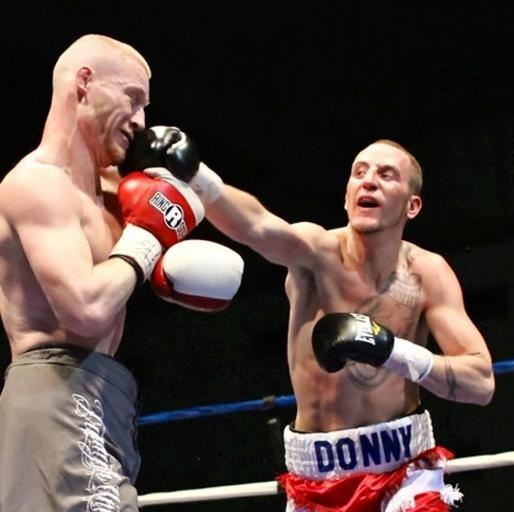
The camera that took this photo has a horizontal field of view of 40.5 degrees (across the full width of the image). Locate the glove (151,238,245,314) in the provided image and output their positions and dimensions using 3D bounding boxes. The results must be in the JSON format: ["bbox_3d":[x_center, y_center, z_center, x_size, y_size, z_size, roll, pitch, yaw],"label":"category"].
[{"bbox_3d":[-0.180,0.069,2.223,0.277,0.169,0.194,12,46,-12],"label":"glove"}]
